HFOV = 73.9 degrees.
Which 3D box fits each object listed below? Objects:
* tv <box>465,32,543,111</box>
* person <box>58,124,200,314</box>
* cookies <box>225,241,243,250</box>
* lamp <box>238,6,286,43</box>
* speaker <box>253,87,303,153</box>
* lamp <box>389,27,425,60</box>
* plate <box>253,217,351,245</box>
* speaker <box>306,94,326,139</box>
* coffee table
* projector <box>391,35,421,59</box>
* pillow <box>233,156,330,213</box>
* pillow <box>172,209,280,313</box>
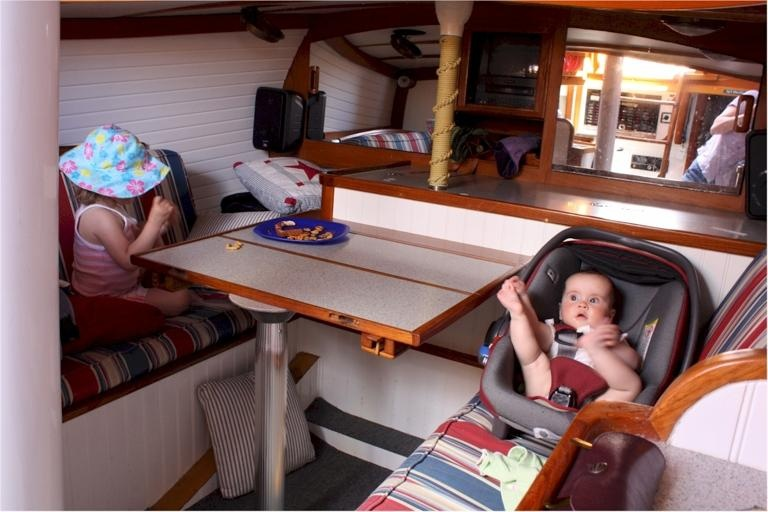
[{"bbox_3d":[0.596,-0.897,2.468,0.404,0.350,0.043,9,8,21],"label":"tv"},{"bbox_3d":[-0.989,-0.123,2.004,0.537,0.661,0.465,-1,17,-32],"label":"person"},{"bbox_3d":[-0.479,-0.036,1.634,0.033,0.013,0.033,-7,17,-20],"label":"cookies"},{"bbox_3d":[-0.657,-1.235,2.749,0.216,0.138,0.253,-3,17,-13],"label":"lamp"},{"bbox_3d":[-0.632,-0.825,3.140,0.296,0.370,0.232,18,23,28],"label":"speaker"},{"bbox_3d":[0.124,-1.150,2.790,0.200,0.152,0.043,12,20,32],"label":"lamp"},{"bbox_3d":[-0.286,-0.091,1.815,0.201,0.025,0.150,5,22,7],"label":"plate"},{"bbox_3d":[-0.413,-0.854,3.127,0.131,0.279,0.044,12,21,31],"label":"speaker"},{"bbox_3d":[-0.099,0.409,1.840,1.027,0.902,0.980,8,18,20],"label":"coffee table"},{"bbox_3d":[0.123,-1.140,2.776,0.167,0.123,0.066,38,45,16],"label":"projector"},{"bbox_3d":[-0.541,-0.386,2.799,0.491,0.122,0.495,25,27,-3],"label":"pillow"},{"bbox_3d":[-0.713,0.016,2.495,0.470,0.109,0.489,10,29,31],"label":"pillow"}]
